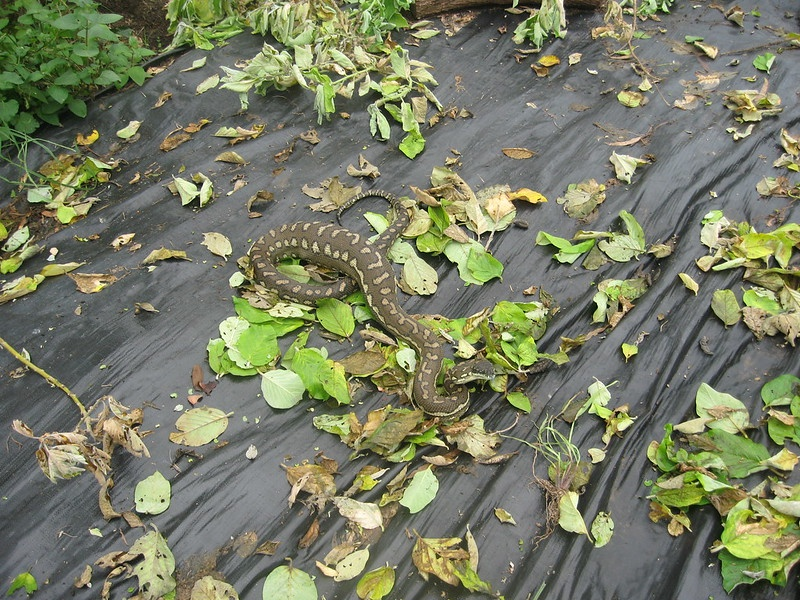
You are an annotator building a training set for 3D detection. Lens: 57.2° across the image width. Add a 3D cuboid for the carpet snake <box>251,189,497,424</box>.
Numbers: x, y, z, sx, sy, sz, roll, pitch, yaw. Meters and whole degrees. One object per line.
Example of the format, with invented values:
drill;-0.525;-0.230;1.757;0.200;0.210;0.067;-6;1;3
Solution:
carpet snake;-0.304;0.056;7.811;1.683;0.354;2.671;-28;67;-28
